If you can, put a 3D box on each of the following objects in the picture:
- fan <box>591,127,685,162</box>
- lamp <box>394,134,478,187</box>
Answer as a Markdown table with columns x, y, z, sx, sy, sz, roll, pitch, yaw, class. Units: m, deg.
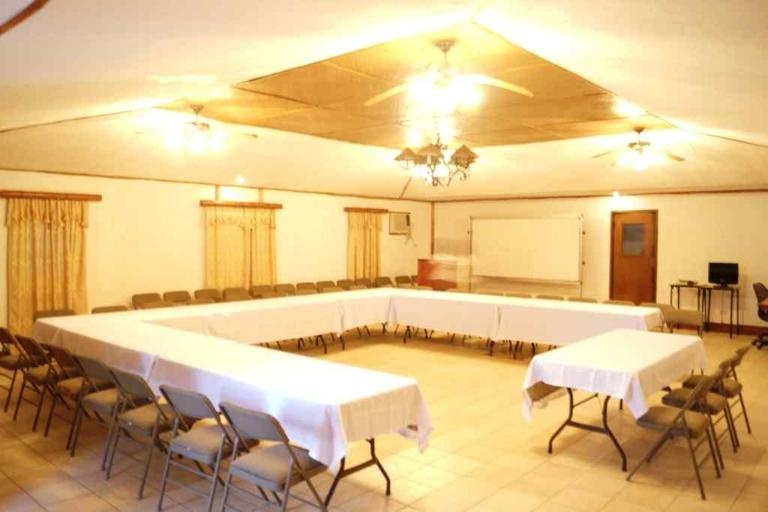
| x | y | z | sx | sy | sz | roll | pitch | yaw | class |
| --- | --- | --- | --- | --- | --- | --- | --- | --- | --- |
| 4.127 | -1.725 | 9.142 | 0.720 | 0.249 | 0.743 | -2 | -4 | 37 | fan |
| 0.866 | -1.372 | 8.254 | 1.155 | 0.747 | 1.268 | -5 | 8 | -32 | lamp |
